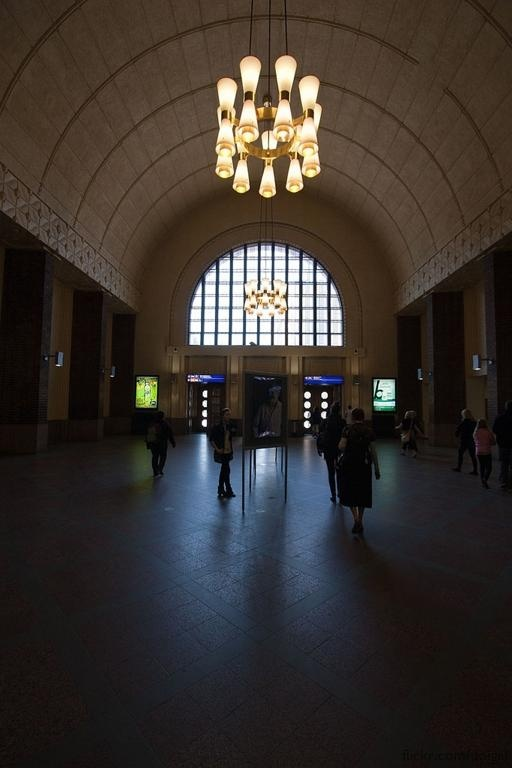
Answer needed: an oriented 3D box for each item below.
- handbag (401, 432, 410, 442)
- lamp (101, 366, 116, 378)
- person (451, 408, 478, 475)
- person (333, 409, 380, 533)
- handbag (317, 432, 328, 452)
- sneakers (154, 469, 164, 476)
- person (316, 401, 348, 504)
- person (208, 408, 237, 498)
[{"bbox_3d":[4.482,1.615,13.427,0.286,0.321,0.238,-2,-4,43],"label":"handbag"},{"bbox_3d":[-6.431,-0.510,19.455,0.320,0.382,0.401,3,1,7],"label":"lamp"},{"bbox_3d":[4.819,1.281,10.300,0.393,1.590,0.426,3,24,31],"label":"person"},{"bbox_3d":[1.280,1.061,5.666,0.496,1.487,0.899,-1,-3,16],"label":"person"},{"bbox_3d":[1.104,0.987,7.459,0.041,0.297,0.230,2,4,-5],"label":"handbag"},{"bbox_3d":[-2.013,1.865,9.331,0.086,0.128,0.319,0,-2,15],"label":"sneakers"},{"bbox_3d":[1.278,1.208,7.351,0.430,1.779,0.426,-1,-36,11],"label":"person"},{"bbox_3d":[-0.570,1.185,7.757,0.407,1.472,0.976,0,-3,-3],"label":"person"}]
